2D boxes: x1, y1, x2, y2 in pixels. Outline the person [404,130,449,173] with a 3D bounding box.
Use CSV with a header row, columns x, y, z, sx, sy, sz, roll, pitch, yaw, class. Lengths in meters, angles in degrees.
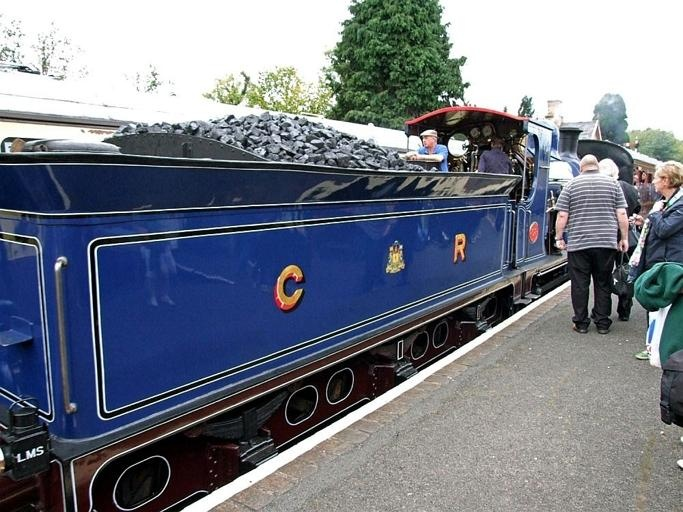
x,y,z,sx,sy,sz,roll,pitch,yaw,class
1.308,-1.508,7.194,0.555,0.818,0.529,2,43,13,person
